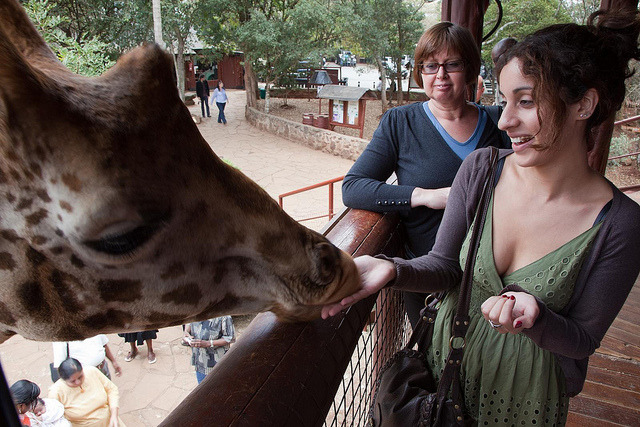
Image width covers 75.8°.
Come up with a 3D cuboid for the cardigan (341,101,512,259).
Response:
[{"bbox_3d":[0.511,-0.145,1.922,0.734,0.589,0.252,-5,15,-16],"label":"cardigan"}]

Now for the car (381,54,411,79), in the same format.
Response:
[{"bbox_3d":[3.905,-7.740,21.575,1.455,0.928,2.084,0,25,7],"label":"car"}]

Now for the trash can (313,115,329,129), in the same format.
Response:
[{"bbox_3d":[0.007,-4.012,17.834,0.612,0.630,0.642,3,30,6],"label":"trash can"}]

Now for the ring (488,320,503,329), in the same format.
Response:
[{"bbox_3d":[0.567,0.369,1.337,0.038,0.011,0.037,14,12,-3],"label":"ring"}]
